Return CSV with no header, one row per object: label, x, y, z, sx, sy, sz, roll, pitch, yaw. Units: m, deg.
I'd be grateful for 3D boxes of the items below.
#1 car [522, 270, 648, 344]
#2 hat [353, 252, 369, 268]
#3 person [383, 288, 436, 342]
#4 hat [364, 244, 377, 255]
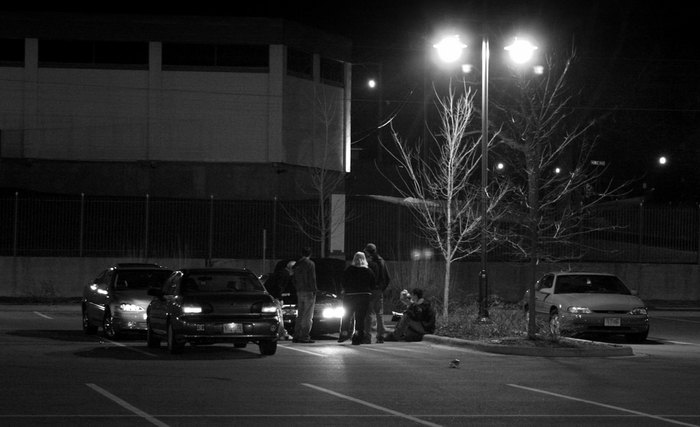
car,7.887,3.009,27.968,3.717,2.350,3.681,0,-7,18
hat,0.305,1.455,26.253,0.404,0.411,0.480,1,-4,-39
person,2.030,3.289,27.106,1.371,1.680,1.091,2,-6,7
hat,0.672,1.160,27.366,0.308,0.216,0.409,-2,9,-18
